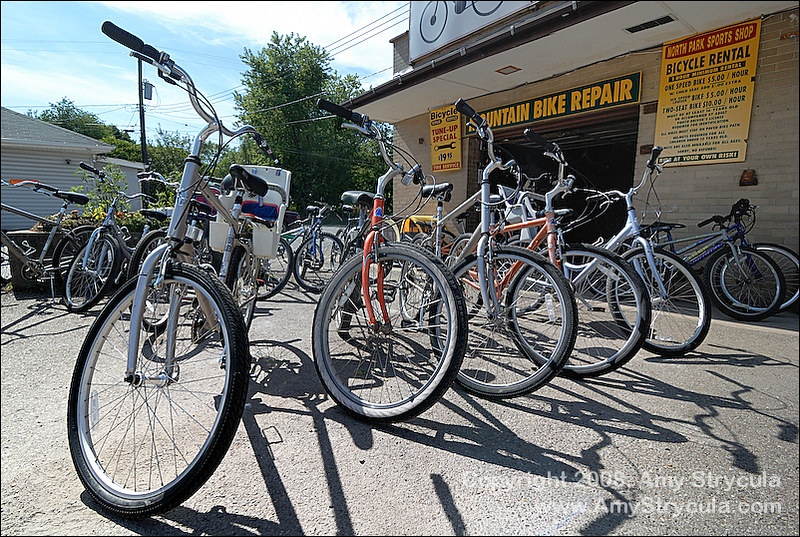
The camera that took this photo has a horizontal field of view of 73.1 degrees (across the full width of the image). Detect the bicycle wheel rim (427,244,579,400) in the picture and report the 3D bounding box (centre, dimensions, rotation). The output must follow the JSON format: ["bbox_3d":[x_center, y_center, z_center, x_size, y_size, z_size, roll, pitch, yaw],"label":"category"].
[{"bbox_3d":[0.917,0.425,4.316,1.153,1.159,0.282,-3,-2,33],"label":"bicycle wheel rim"}]

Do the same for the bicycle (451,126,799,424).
[{"bbox_3d":[1.220,0.049,4.993,2.723,1.696,1.732,0,-2,34],"label":"bicycle"}]

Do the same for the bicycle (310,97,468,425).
[{"bbox_3d":[-0.103,-0.079,4.217,1.176,2.292,1.445,2,7,-10],"label":"bicycle"}]

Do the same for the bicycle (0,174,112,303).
[{"bbox_3d":[-3.989,-0.311,6.601,1.240,0.996,1.577,4,-6,40],"label":"bicycle"}]

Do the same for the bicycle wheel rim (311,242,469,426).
[{"bbox_3d":[-0.093,0.463,3.985,1.289,1.282,0.168,-13,-18,22],"label":"bicycle wheel rim"}]

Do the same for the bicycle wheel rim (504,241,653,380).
[{"bbox_3d":[1.722,0.301,4.607,0.275,1.122,1.145,2,-23,-45],"label":"bicycle wheel rim"}]

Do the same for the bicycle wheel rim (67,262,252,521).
[{"bbox_3d":[-1.688,0.707,3.660,0.996,1.515,1.425,-1,8,-32],"label":"bicycle wheel rim"}]
